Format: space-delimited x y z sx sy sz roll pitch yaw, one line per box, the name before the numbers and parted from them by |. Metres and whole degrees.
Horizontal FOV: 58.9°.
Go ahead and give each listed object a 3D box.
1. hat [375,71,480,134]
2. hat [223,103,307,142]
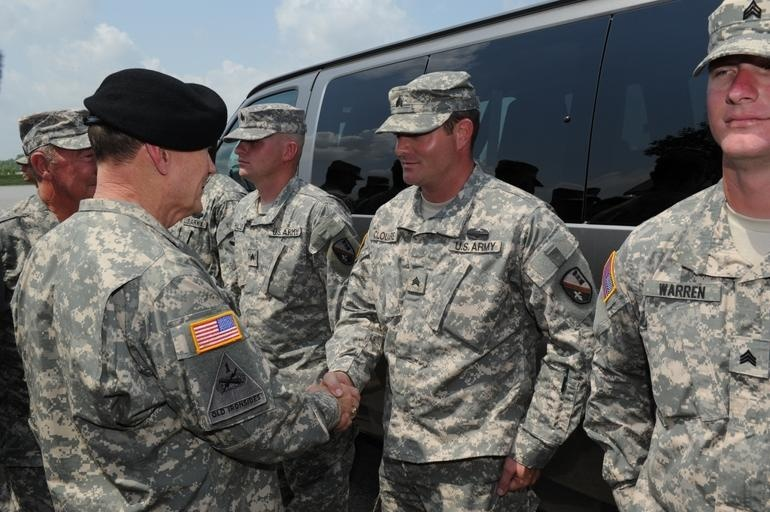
hat | 0.202 -0.720 3.175 0.434 0.162 0.302 -16 14 -28
hat | -0.704 -0.797 4.095 0.412 0.158 0.282 -1 -2 -28
